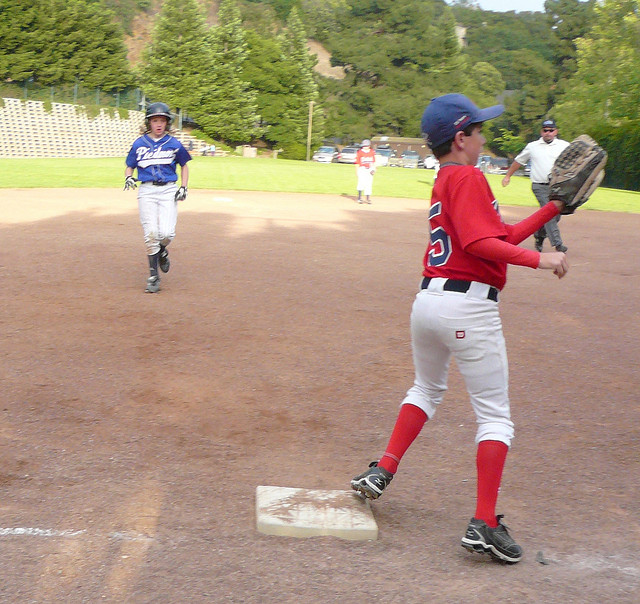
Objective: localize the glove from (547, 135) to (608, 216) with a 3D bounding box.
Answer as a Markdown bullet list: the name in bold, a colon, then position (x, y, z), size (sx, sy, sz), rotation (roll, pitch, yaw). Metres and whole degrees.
- **glove**: position (1.200, -0.592, 3.136), size (0.231, 0.376, 0.321), rotation (11, 19, 15)

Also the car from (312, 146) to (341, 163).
- **car**: position (0.316, -12.159, 55.465), size (2.484, 1.085, 2.996), rotation (3, 10, 14)

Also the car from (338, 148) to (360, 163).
- **car**: position (2.128, -11.490, 52.855), size (1.346, 1.126, 4.299), rotation (4, 13, 0)

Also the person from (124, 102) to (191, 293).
- **person**: position (-1.845, -1.191, 7.550), size (0.709, 2.053, 0.962), rotation (2, 20, -10)

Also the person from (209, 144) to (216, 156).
- **person**: position (-9.142, -12.889, 56.979), size (0.526, 0.891, 1.634), rotation (2, 14, -9)
